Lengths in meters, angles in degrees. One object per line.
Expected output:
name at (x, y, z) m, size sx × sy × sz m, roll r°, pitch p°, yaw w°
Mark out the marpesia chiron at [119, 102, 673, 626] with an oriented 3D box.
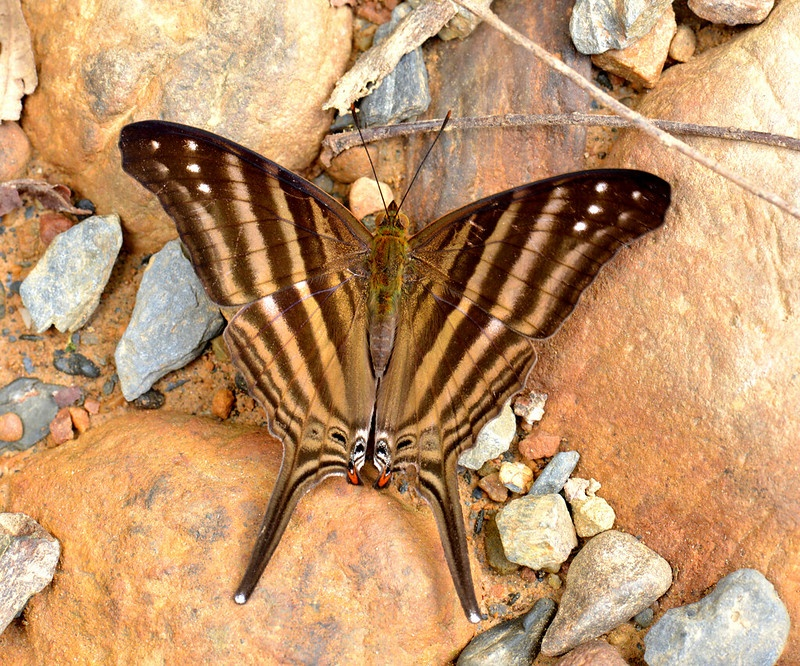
marpesia chiron at (0.137, -0.855, 6.563) m, size 4.196 × 4.817 × 2.087 m, roll -4°, pitch -59°, yaw -8°
